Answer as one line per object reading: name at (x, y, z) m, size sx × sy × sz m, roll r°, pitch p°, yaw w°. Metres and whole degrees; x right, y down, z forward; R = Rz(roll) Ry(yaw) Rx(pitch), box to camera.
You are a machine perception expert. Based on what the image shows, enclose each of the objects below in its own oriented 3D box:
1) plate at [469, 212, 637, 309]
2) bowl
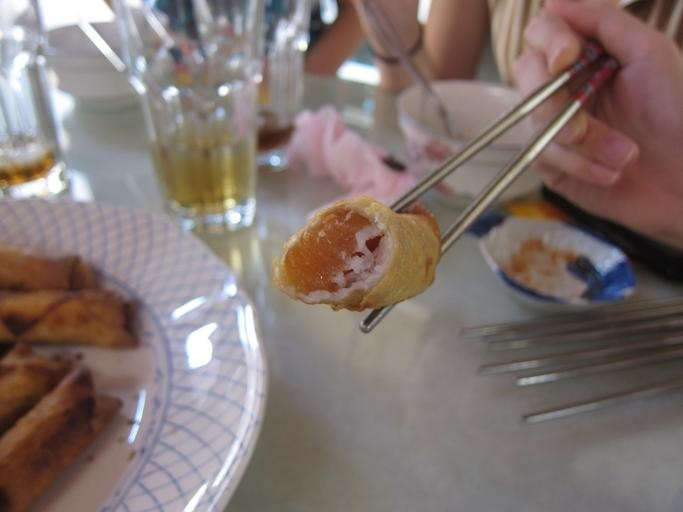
plate at (0.137, 0.003, 0.401) m, size 0.092 × 0.030 × 0.058 m, roll 33°, pitch 57°, yaw 24°
bowl at (0.092, -0.082, 0.454) m, size 0.086 × 0.061 × 0.075 m, roll 19°, pitch 53°, yaw 33°
